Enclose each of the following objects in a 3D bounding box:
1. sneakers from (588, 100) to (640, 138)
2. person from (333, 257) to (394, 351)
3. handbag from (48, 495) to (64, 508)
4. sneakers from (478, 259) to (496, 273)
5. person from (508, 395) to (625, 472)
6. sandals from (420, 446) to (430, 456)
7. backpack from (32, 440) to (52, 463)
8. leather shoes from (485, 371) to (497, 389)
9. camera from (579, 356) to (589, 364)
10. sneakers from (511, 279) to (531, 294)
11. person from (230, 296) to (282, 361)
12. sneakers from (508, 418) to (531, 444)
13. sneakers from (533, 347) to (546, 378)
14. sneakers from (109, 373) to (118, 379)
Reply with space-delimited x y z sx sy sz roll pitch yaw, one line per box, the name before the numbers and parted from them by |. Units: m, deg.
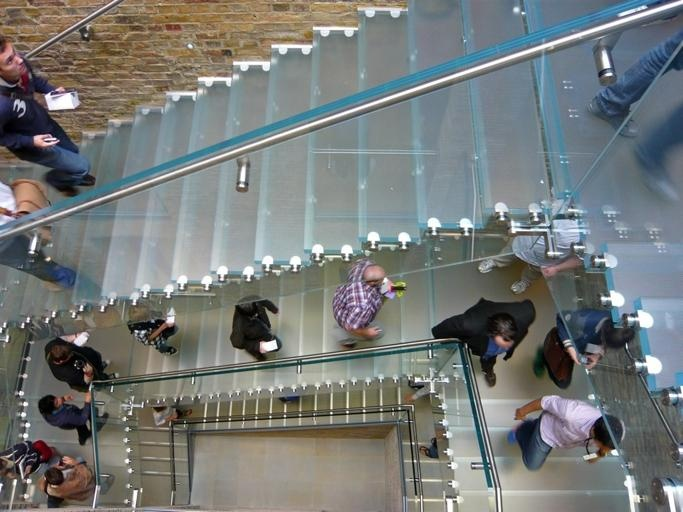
sneakers | 1.696 -0.859 2.902 0.113 0.351 0.149 -54 -16 13
person | 0.198 0.477 4.638 0.413 0.428 1.066 0 -10 -6
handbag | -3.814 3.256 6.150 0.181 0.150 0.340 10 -23 -27
sneakers | 1.682 0.121 5.496 0.271 0.111 0.108 -3 7 16
person | 2.278 1.844 4.754 0.730 0.758 1.279 -2 -20 1
sandals | 1.006 2.372 5.644 0.033 0.040 0.123 3 19 -38
backpack | -4.052 2.636 6.225 0.155 0.281 0.234 -40 32 -20
leather shoes | 1.760 1.464 5.479 0.140 0.207 0.149 -7 2 9
camera | 1.824 0.780 3.483 0.061 0.057 0.103 0 -21 9
sneakers | 2.149 0.369 5.568 0.221 0.151 0.079 -45 -7 23
person | -0.943 0.807 5.168 0.414 0.382 0.936 6 -7 -2
sneakers | 2.014 1.983 5.224 0.392 0.125 0.117 -32 -36 -4
sneakers | 2.356 1.260 5.475 0.080 0.287 0.180 14 -8 -31
sneakers | -3.263 1.710 6.606 0.141 0.061 0.201 7 -14 -32
